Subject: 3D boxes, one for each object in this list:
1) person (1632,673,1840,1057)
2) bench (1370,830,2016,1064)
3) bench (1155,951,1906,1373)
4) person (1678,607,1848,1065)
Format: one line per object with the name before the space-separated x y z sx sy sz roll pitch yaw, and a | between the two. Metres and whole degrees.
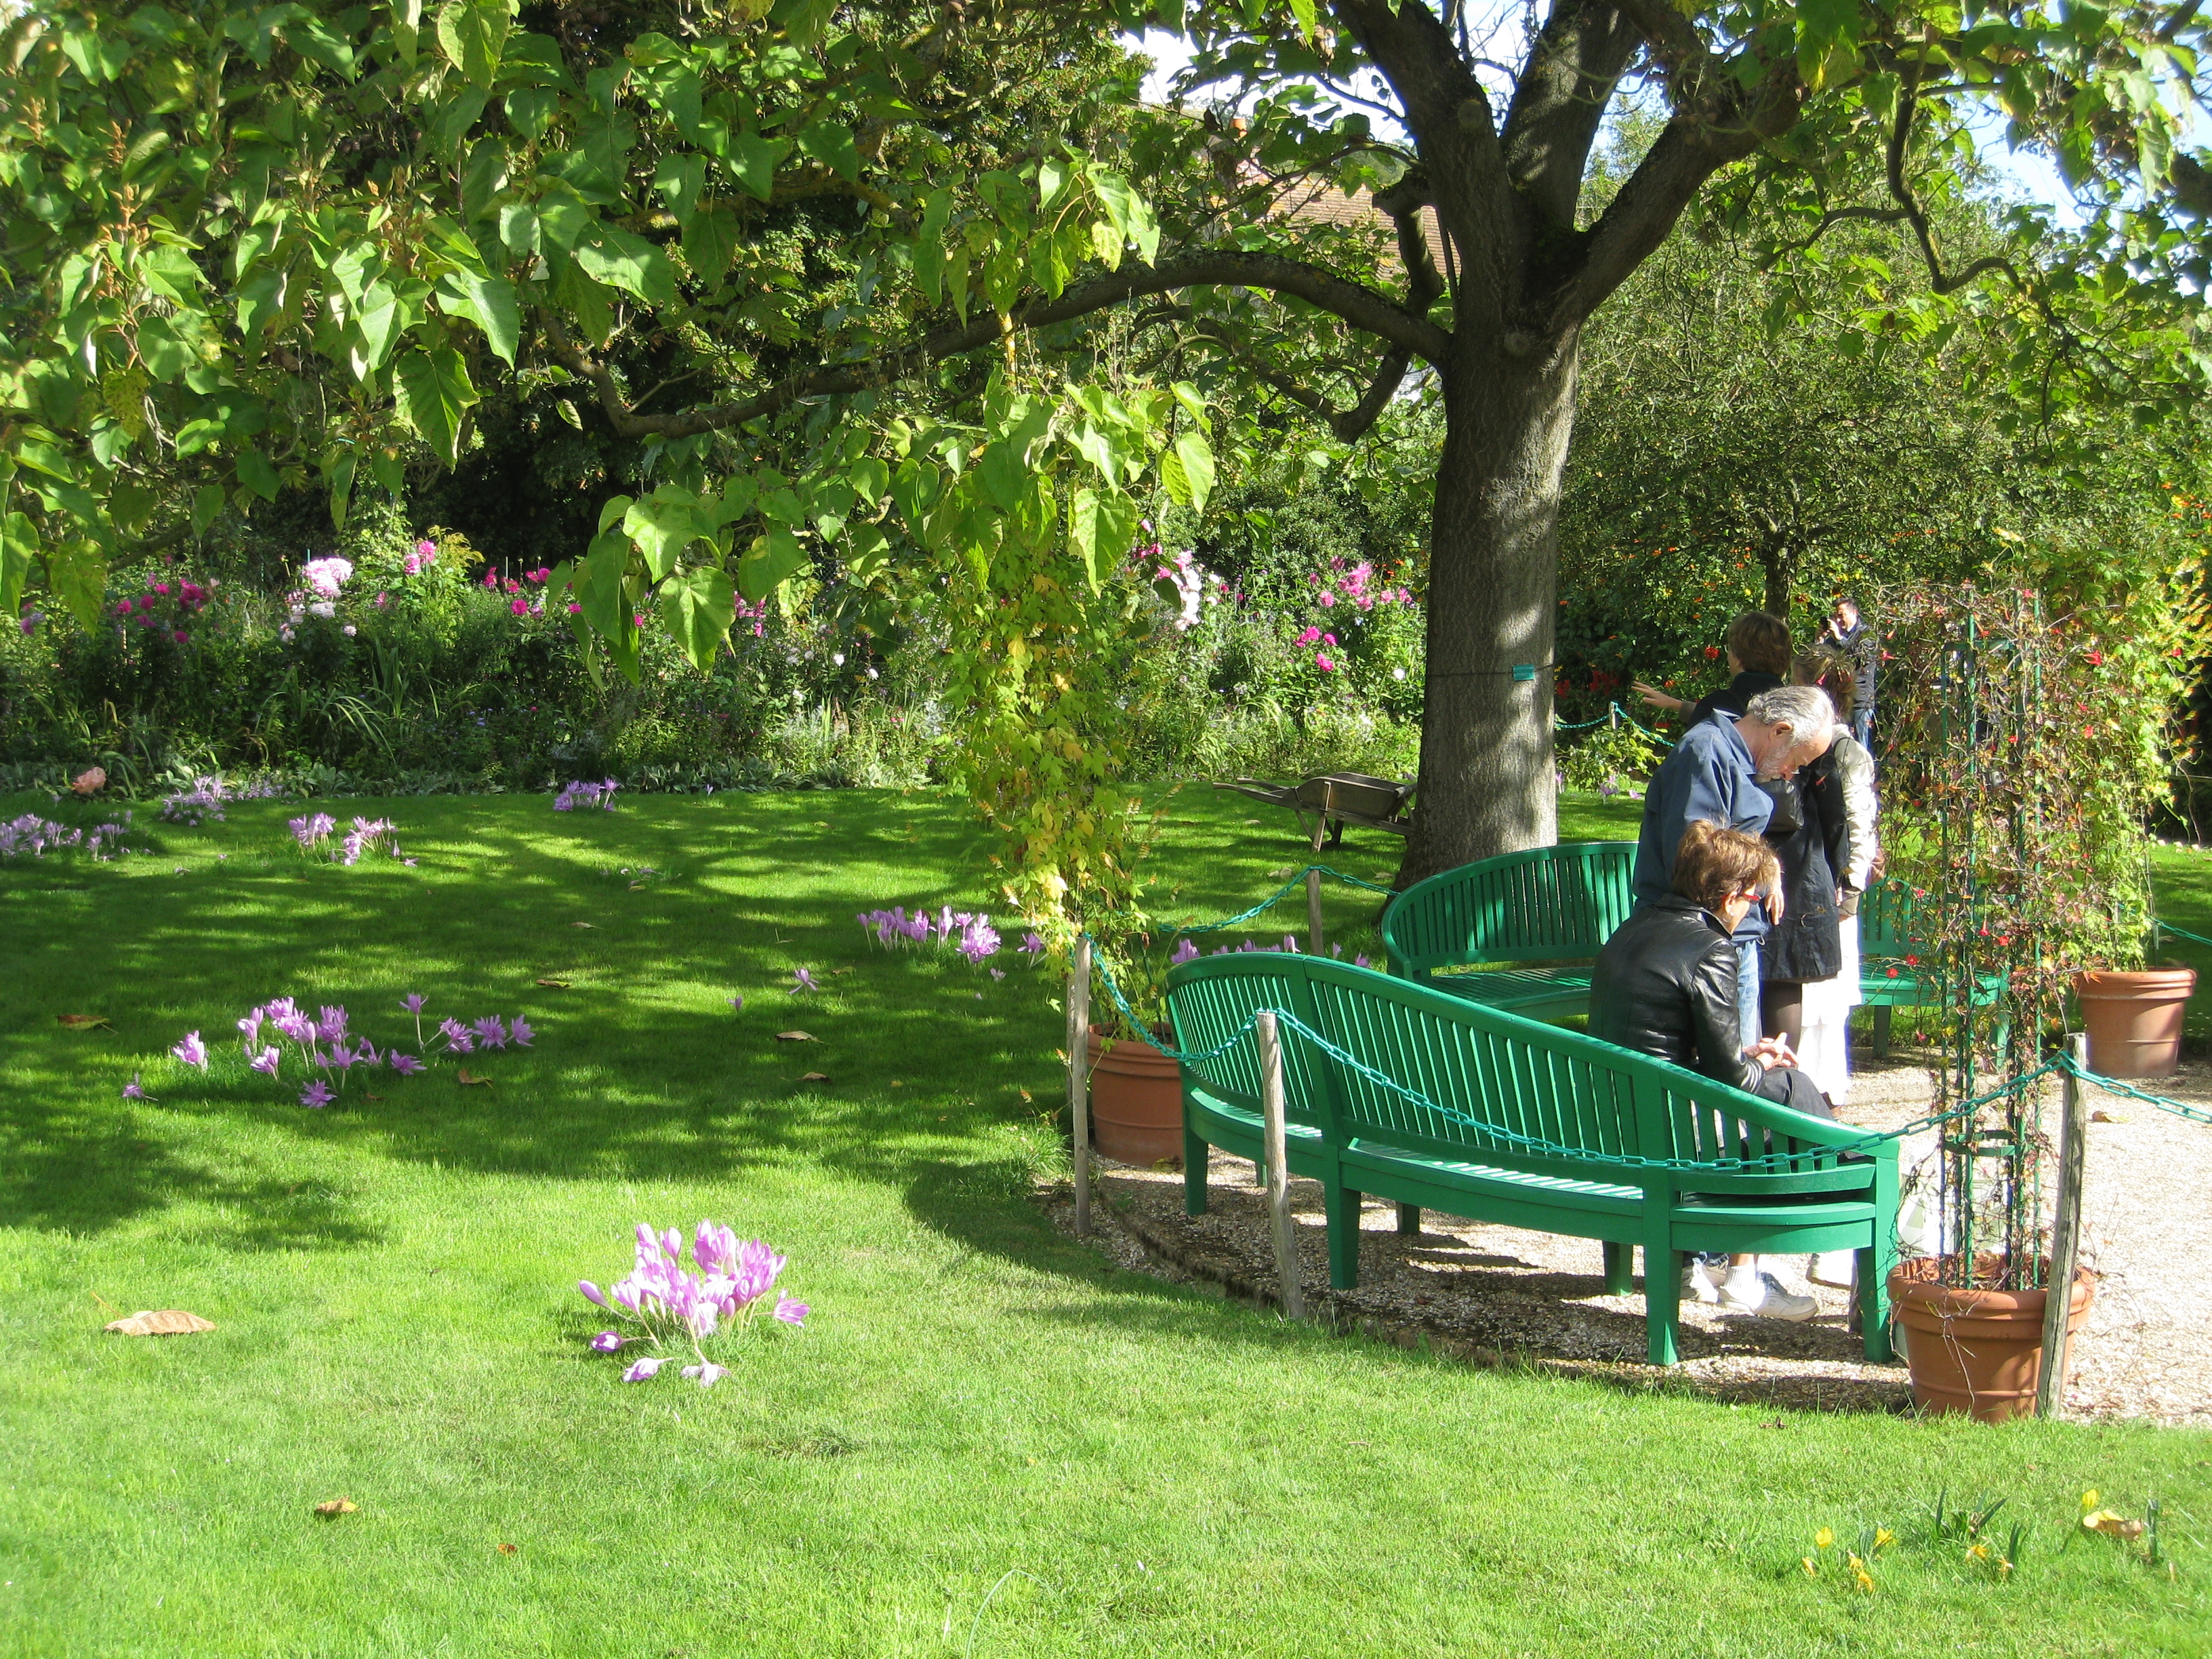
person | 2.457 0.200 11.383 0.645 1.997 0.672 -1 29 11
bench | 2.705 0.633 14.624 2.817 1.108 0.881 -2 -1 -6
bench | 1.561 1.085 10.528 2.635 1.097 0.883 3 -12 21
person | 2.459 0.379 11.765 0.616 1.978 0.546 -5 16 -19
